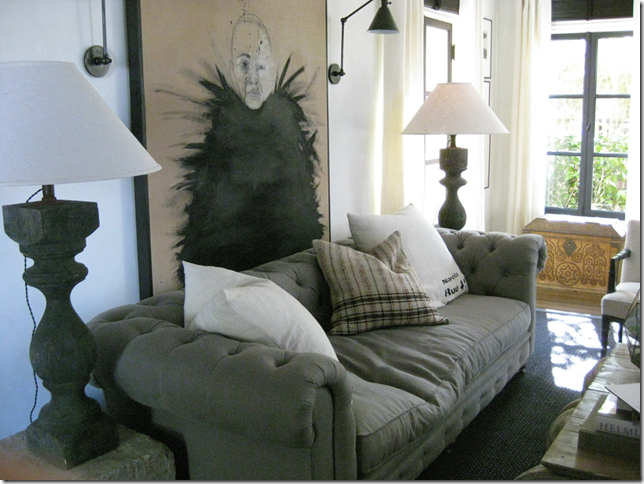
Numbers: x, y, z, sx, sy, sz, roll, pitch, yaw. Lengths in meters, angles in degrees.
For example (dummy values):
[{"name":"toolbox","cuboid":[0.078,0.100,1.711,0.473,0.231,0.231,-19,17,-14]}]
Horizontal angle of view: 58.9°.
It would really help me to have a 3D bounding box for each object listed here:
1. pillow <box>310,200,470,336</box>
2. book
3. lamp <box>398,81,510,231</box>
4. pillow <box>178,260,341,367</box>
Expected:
[{"name":"pillow","cuboid":[0.324,0.177,2.905,0.637,0.680,0.198,-4,-27,-38]},{"name":"book","cuboid":[0.901,0.533,1.782,0.132,0.062,0.255,3,7,28]},{"name":"lamp","cuboid":[0.835,-0.528,3.580,0.534,0.957,0.437,-10,14,-36]},{"name":"pillow","cuboid":[-0.248,0.245,2.155,0.450,0.150,0.397,29,9,-10]}]
